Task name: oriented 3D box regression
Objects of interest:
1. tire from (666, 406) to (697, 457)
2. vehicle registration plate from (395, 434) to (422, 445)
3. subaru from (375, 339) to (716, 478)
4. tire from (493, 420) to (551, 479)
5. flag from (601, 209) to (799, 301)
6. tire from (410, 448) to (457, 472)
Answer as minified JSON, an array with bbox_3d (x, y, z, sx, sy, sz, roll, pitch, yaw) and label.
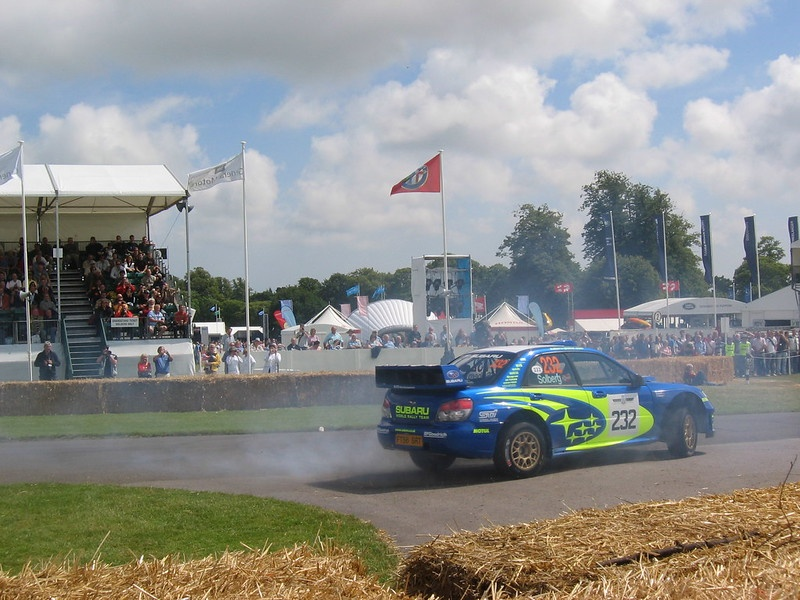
[{"bbox_3d":[5.216,2.454,24.225,0.308,0.938,0.941,1,2,43],"label":"tire"},{"bbox_3d":[0.161,2.456,22.687,0.581,0.210,0.071,2,0,43],"label":"vehicle registration plate"},{"bbox_3d":[2.592,1.944,23.812,5.675,2.008,2.385,-4,1,-30],"label":"subaru"},{"bbox_3d":[2.096,2.586,22.659,0.981,0.980,0.371,5,3,-23],"label":"tire"},{"bbox_3d":[15.948,-2.339,75.235,6.078,2.809,6.222,2,-5,-37],"label":"flag"},{"bbox_3d":[0.597,2.873,23.297,0.557,0.557,0.215,1,0,-24],"label":"tire"}]
